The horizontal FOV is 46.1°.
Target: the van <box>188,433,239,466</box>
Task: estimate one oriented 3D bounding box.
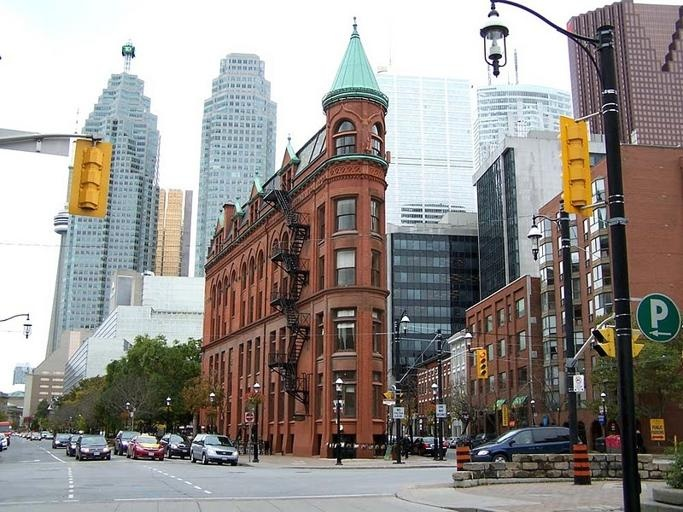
[{"bbox_3d":[-7.686,11.513,47.929,1.472,1.240,3.359,6,-20,-21],"label":"van"}]

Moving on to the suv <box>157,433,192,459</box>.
[{"bbox_3d":[-12.062,13.774,58.337,1.412,1.438,3.310,7,-24,-22],"label":"suv"}]
